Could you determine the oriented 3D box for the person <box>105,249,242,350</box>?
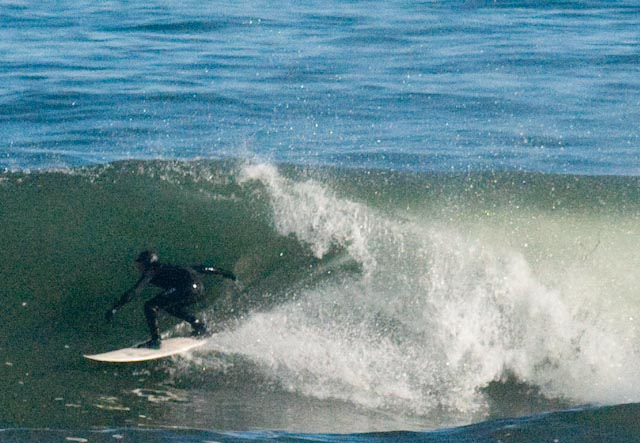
[{"bbox_3d":[-4.205,2.408,36.855,2.474,1.119,1.519,-26,105,-41],"label":"person"}]
